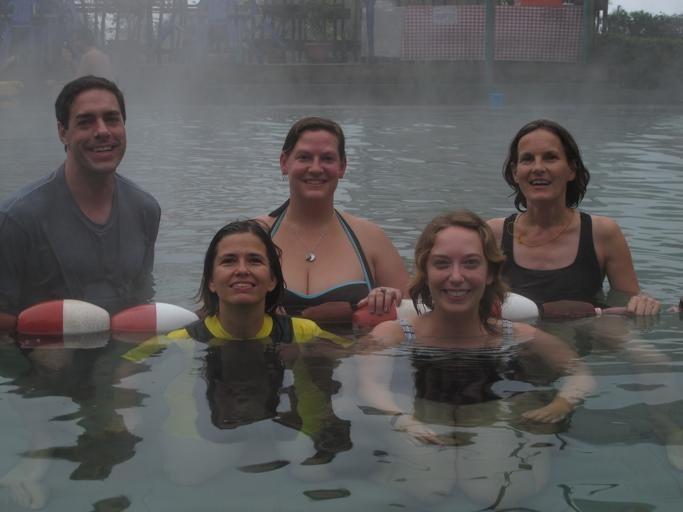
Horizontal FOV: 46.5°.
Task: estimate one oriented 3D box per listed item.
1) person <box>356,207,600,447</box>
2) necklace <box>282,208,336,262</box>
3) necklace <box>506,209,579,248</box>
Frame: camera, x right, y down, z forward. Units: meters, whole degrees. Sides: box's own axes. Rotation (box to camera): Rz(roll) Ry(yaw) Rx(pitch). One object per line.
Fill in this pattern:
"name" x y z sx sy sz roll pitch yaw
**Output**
"person" 0.708 0.336 4.620 1.831 1.366 1.126 0 -14 -2
"necklace" -0.233 -0.127 5.318 0.397 0.322 0.134 4 -11 -1
"necklace" 1.396 -0.173 5.471 0.378 0.252 0.086 -5 36 9
